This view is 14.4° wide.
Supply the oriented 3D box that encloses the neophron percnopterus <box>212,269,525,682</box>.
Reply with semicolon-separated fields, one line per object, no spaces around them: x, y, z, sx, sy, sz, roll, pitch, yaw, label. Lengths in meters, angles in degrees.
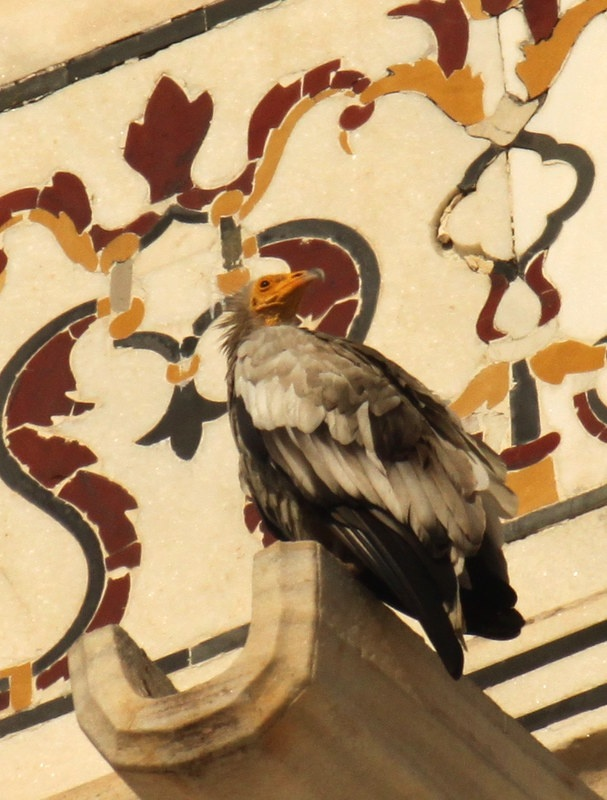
0.096;0.122;5.102;0.760;0.421;0.878;9;60;16;neophron percnopterus
